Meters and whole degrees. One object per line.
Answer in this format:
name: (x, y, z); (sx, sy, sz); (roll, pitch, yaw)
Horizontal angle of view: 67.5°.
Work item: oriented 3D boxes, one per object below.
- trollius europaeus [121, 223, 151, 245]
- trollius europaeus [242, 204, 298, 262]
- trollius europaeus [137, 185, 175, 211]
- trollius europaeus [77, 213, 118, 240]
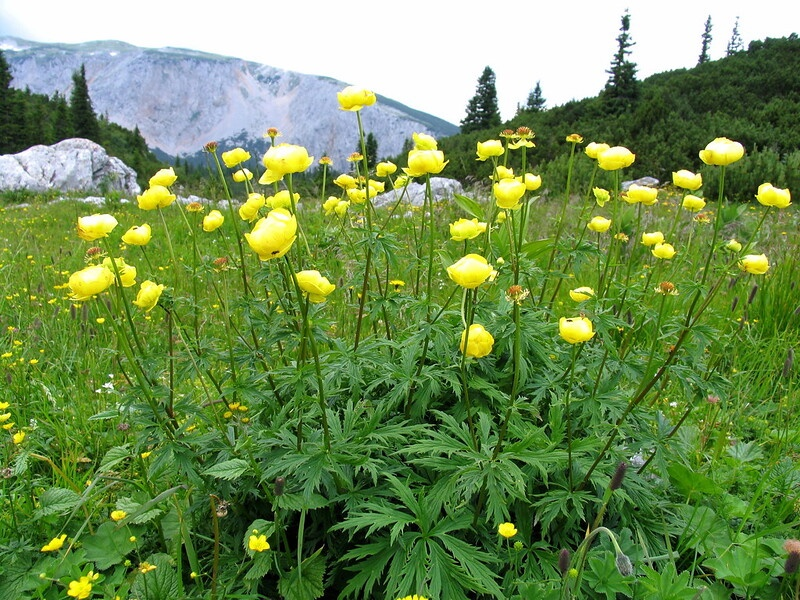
trollius europaeus: (-1.405, -0.334, 3.185); (0.125, 0.136, 0.217); (-9, 21, -29)
trollius europaeus: (-0.565, -0.277, 2.637); (0.229, 0.236, 0.184); (-5, 18, -16)
trollius europaeus: (-1.332, -0.544, 3.245); (0.165, 0.115, 0.161); (-13, 1, -14)
trollius europaeus: (-1.459, -0.334, 2.904); (0.145, 0.094, 0.153); (-27, 58, -29)
